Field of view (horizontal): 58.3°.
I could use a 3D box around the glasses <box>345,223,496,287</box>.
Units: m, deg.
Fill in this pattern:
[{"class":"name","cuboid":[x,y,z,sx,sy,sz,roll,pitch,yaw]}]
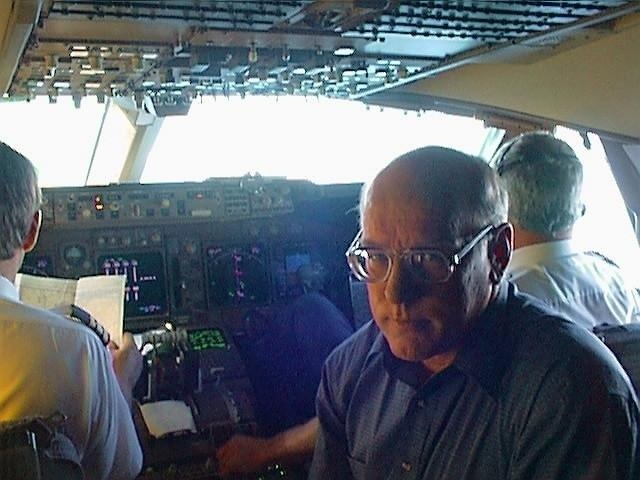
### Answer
[{"class":"glasses","cuboid":[0.269,0.037,1.554,0.402,0.139,0.145,2,0,4]}]
